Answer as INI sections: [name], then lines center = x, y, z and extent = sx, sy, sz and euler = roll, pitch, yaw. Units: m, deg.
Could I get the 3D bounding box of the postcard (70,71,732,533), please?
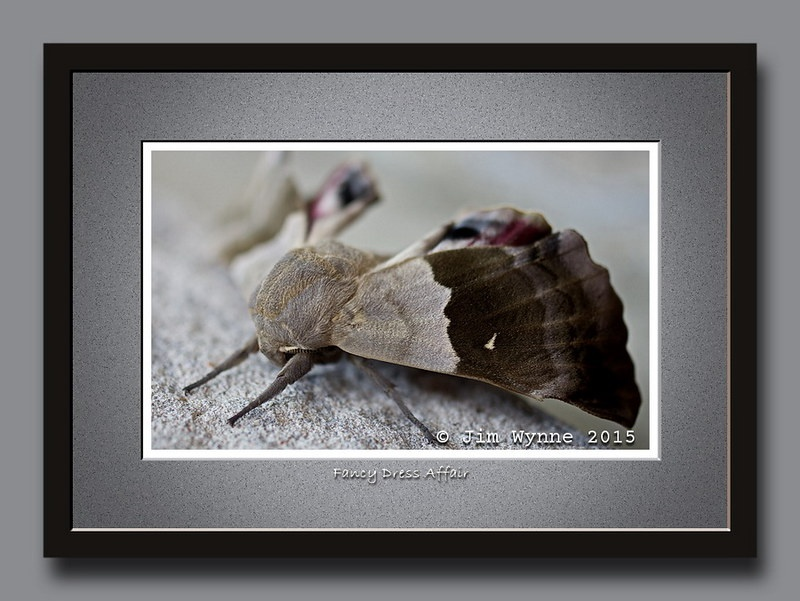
[postcard]
center = 0.003, -0.004, 1.842
extent = 1.280, 0.995, 0.023
euler = 0, -7, 0
